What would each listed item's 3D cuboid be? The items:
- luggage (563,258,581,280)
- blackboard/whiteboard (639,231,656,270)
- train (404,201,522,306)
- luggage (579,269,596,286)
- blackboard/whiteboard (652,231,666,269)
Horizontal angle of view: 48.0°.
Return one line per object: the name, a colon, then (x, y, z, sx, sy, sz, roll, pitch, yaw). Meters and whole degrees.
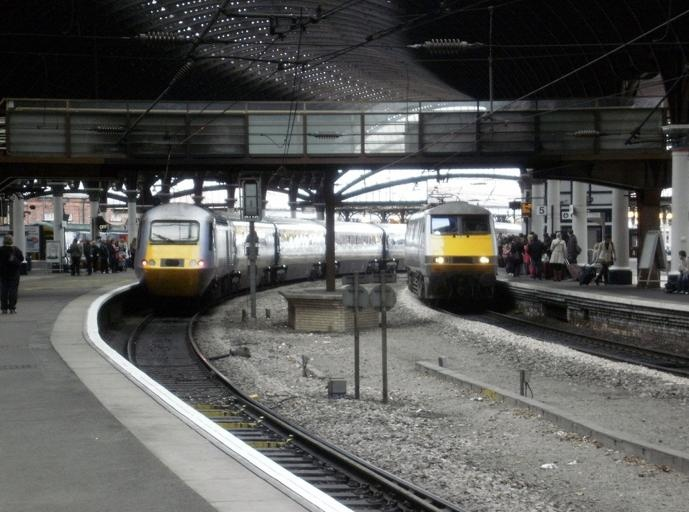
luggage: (9.663, 0.549, 33.103, 1.042, 1.049, 0.335, 26, -26, -30)
blackboard/whiteboard: (11.232, -0.231, 28.550, 0.556, 1.435, 0.900, 0, 2, -10)
train: (3.994, -0.040, 29.616, 2.507, 4.126, 4.764, 0, 2, -5)
luggage: (9.218, 0.754, 29.515, 0.426, 0.678, 0.992, 2, 3, 25)
blackboard/whiteboard: (11.563, -0.201, 28.572, 0.458, 1.426, 1.314, -6, 4, 11)
